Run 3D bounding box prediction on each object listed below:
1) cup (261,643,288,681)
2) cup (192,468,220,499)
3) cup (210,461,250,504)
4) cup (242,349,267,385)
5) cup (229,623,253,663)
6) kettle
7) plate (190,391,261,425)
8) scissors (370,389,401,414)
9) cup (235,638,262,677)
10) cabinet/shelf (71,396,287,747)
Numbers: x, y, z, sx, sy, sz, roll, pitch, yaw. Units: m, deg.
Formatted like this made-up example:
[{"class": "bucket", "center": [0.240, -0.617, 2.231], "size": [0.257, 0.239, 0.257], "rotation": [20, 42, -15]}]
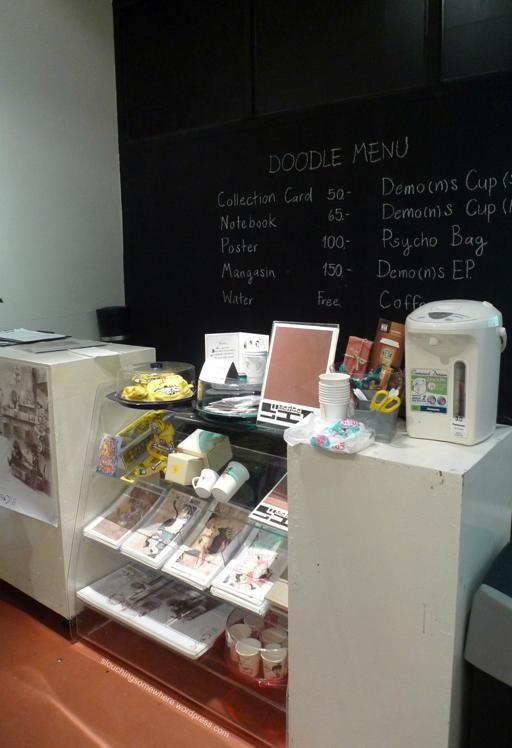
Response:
[{"class": "cup", "center": [0.057, 0.857, 1.577], "size": [0.088, 0.104, 0.094], "rotation": [0, 1, 0]}, {"class": "cup", "center": [-0.178, 0.345, 1.686], "size": [0.096, 0.076, 0.071], "rotation": [7, 34, 24]}, {"class": "cup", "center": [-0.086, 0.350, 1.639], "size": [0.077, 0.117, 0.124], "rotation": [7, 11, 43]}, {"class": "cup", "center": [-0.002, -0.023, 1.746], "size": [0.094, 0.117, 0.099], "rotation": [0, 7, 0]}, {"class": "cup", "center": [-0.041, 0.867, 1.664], "size": [0.073, 0.091, 0.078], "rotation": [0, -1, 0]}, {"class": "kettle", "center": [0.474, -0.012, 1.250], "size": [0.223, 0.331, 0.213], "rotation": [3, 9, 26]}, {"class": "plate", "center": [-0.092, 0.113, 1.657], "size": [0.211, 0.066, 0.156], "rotation": [-1, 8, -5]}, {"class": "scissors", "center": [0.306, 0.067, 1.241], "size": [0.068, 0.046, 0.046], "rotation": [5, 10, 32]}, {"class": "cup", "center": [-0.021, 0.859, 1.568], "size": [0.080, 0.091, 0.079], "rotation": [-1, 13, 0]}, {"class": "cabinet/shelf", "center": [-0.235, 0.643, 1.698], "size": [0.795, 0.830, 0.285], "rotation": [13, 14, 42]}]
